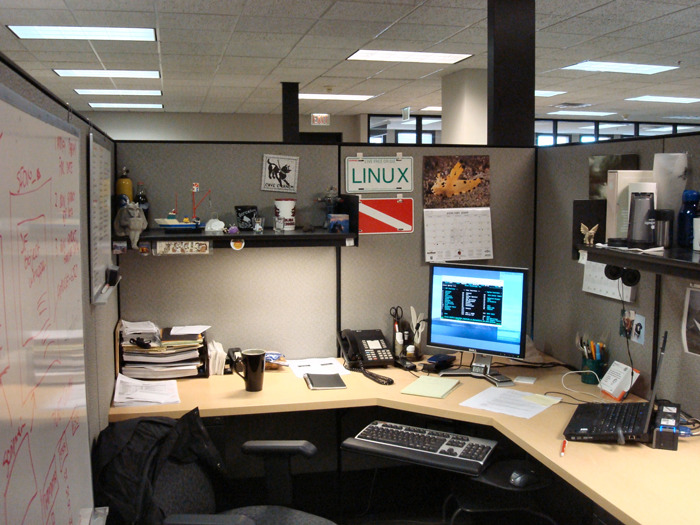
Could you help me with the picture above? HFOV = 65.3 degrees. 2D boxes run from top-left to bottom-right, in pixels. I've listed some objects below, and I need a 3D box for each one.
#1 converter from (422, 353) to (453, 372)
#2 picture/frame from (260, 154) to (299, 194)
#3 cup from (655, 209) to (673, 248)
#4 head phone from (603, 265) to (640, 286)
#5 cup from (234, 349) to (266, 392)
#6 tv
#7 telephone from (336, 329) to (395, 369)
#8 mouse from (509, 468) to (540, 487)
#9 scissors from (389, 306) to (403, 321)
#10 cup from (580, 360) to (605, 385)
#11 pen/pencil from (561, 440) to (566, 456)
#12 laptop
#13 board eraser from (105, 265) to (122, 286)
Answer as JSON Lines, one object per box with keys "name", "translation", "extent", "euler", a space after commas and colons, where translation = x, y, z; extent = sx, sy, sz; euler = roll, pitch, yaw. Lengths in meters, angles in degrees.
{"name": "converter", "translation": [0.461, 0.515, 2.819], "extent": [0.082, 0.035, 0.116], "euler": [6, 10, 39]}
{"name": "picture/frame", "translation": [-0.385, -0.488, 2.911], "extent": [0.209, 0.219, 0.017], "euler": [1, 6, -7]}
{"name": "cup", "translation": [1.215, -0.134, 2.080], "extent": [0.095, 0.141, 0.057], "euler": [-4, 11, -20]}
{"name": "head phone", "translation": [1.225, 0.053, 2.441], "extent": [0.045, 0.082, 0.148], "euler": [22, -5, -42]}
{"name": "cup", "translation": [-0.477, 0.509, 2.530], "extent": [0.169, 0.166, 0.113], "euler": [6, -10, -40]}
{"name": "tv", "translation": [0.633, 0.307, 2.698], "extent": [0.557, 0.632, 0.237], "euler": [2, 0, 25]}
{"name": "telephone", "translation": [0.083, 0.454, 2.900], "extent": [0.256, 0.123, 0.307], "euler": [2, 14, -2]}
{"name": "mouse", "translation": [0.654, 0.811, 2.060], "extent": [0.118, 0.049, 0.063], "euler": [-6, 12, -28]}
{"name": "scissors", "translation": [0.254, 0.279, 3.039], "extent": [0.082, 0.109, 0.023], "euler": [2, -6, -27]}
{"name": "cup", "translation": [1.152, 0.513, 2.579], "extent": [0.121, 0.091, 0.076], "euler": [2, 3, -3]}
{"name": "pen/pencil", "translation": [0.785, 0.676, 1.990], "extent": [0.017, 0.005, 0.102], "euler": [1, 8, 20]}
{"name": "laptop", "translation": [1.048, 0.477, 2.155], "extent": [0.397, 0.329, 0.472], "euler": [-9, -3, 27]}
{"name": "board eraser", "translation": [-1.009, 0.051, 2.319], "extent": [0.054, 0.091, 0.094], "euler": [0, -7, 2]}
